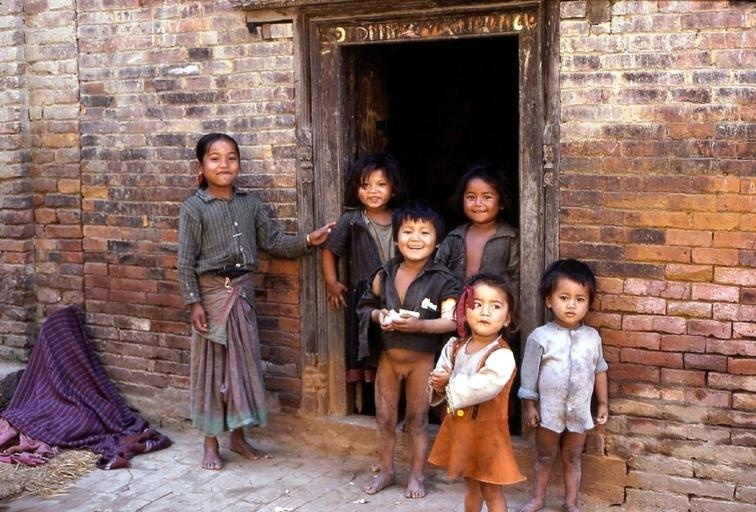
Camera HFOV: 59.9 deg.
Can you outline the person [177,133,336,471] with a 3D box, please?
[{"bbox_3d":[-1.040,0.493,5.049,0.887,2.076,0.682,-6,16,-19],"label":"person"}]
